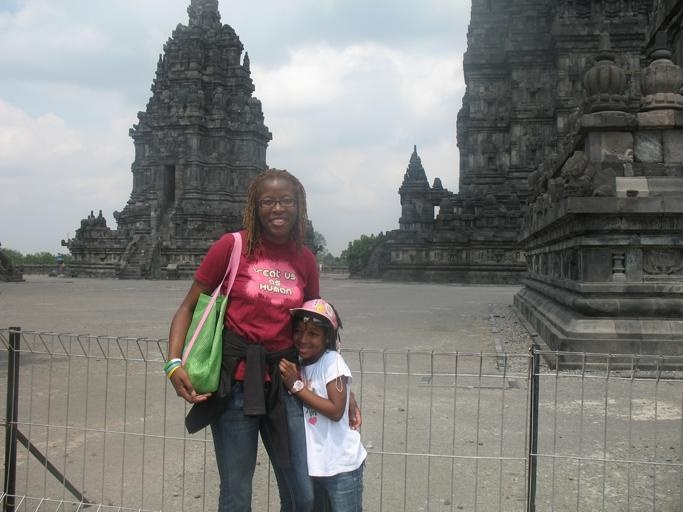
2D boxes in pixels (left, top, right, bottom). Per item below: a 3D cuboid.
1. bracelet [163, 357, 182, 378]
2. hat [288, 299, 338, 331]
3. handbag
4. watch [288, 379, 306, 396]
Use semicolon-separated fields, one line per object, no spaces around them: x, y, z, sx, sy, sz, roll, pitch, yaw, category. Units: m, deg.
-1.270;0.833;6.579;0.124;0.093;0.137;-17;-16;-48;bracelet
-0.198;0.460;6.682;0.241;0.165;0.314;7;-26;36;hat
-0.967;0.425;6.619;0.420;1.222;0.159;2;-5;-9;handbag
-0.329;0.979;6.601;0.113;0.072;0.113;-27;-17;-4;watch
